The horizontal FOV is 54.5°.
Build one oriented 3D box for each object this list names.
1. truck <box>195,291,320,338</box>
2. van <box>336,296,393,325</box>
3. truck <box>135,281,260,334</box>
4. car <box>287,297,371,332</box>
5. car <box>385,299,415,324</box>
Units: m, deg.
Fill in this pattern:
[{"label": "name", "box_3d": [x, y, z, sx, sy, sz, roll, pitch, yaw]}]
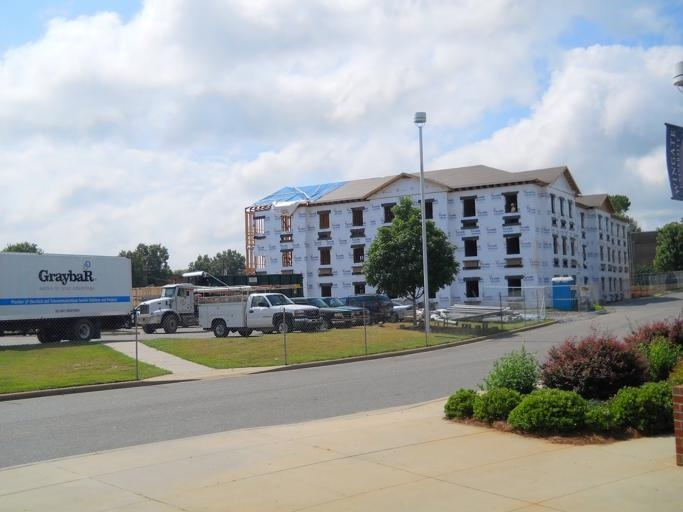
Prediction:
[{"label": "truck", "box_3d": [-4.225, 2.963, 34.153, 5.214, 2.151, 2.696, -4, -5, 22]}, {"label": "van", "box_3d": [1.628, 3.390, 42.642, 2.980, 1.338, 1.718, 2, 0, 34]}, {"label": "truck", "box_3d": [-8.014, 3.012, 37.527, 7.967, 2.721, 2.649, 6, -10, -42]}, {"label": "car", "box_3d": [-0.847, 3.194, 36.911, 3.636, 1.225, 1.923, -4, -4, 41]}, {"label": "car", "box_3d": [3.860, 3.743, 44.831, 1.176, 0.818, 1.981, 1, -8, -35]}]
